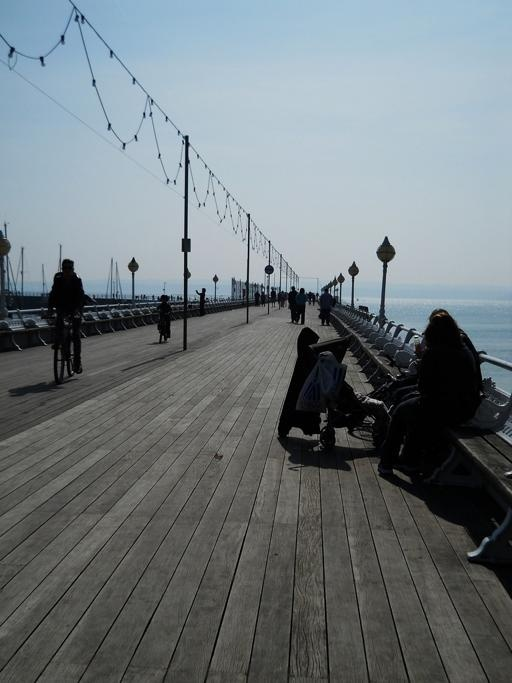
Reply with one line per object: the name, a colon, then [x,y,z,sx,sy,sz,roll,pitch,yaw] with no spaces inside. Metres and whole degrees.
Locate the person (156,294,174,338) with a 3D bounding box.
person: [-3.474,-0.956,18.219,0.457,1.831,2.071,1,-1,-12]

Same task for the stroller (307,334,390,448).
stroller: [0.970,0.514,5.853,0.929,1.637,0.908,-1,3,0]
